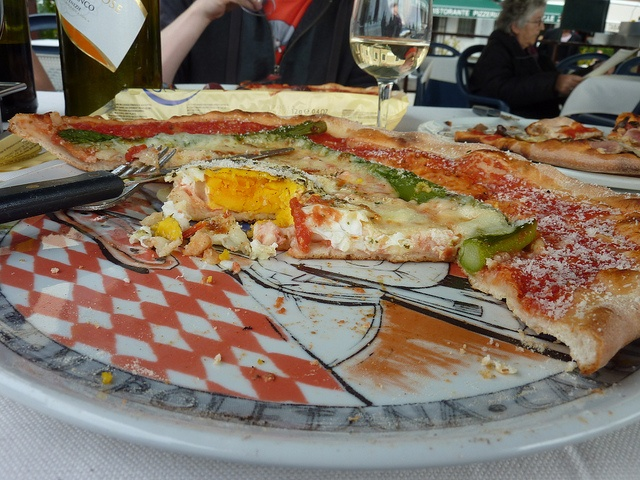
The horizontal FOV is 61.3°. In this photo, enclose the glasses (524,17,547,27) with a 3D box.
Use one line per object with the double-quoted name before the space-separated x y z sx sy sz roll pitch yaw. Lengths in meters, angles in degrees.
"glasses" 1.983 -2.004 4.994 0.207 0.043 0.132 0 58 0
